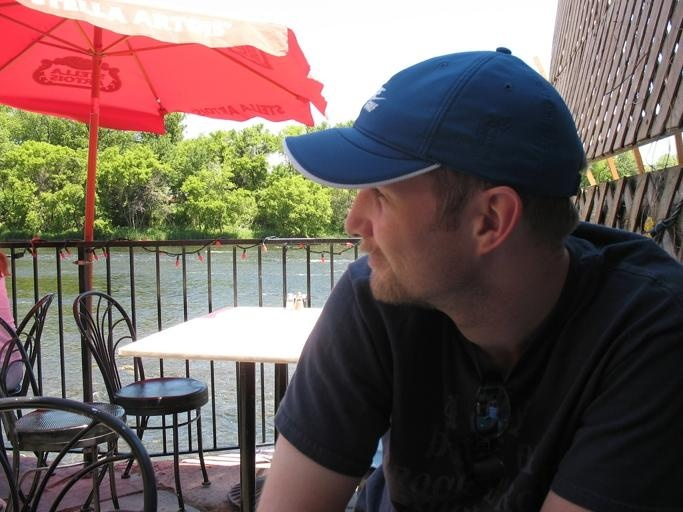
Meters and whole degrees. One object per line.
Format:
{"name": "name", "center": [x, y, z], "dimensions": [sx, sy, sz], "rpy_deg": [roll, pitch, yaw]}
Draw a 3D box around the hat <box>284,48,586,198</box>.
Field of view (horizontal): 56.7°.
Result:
{"name": "hat", "center": [0.267, -0.377, 1.773], "dimensions": [0.826, 0.422, 0.548], "rpy_deg": [7, 10, -4]}
